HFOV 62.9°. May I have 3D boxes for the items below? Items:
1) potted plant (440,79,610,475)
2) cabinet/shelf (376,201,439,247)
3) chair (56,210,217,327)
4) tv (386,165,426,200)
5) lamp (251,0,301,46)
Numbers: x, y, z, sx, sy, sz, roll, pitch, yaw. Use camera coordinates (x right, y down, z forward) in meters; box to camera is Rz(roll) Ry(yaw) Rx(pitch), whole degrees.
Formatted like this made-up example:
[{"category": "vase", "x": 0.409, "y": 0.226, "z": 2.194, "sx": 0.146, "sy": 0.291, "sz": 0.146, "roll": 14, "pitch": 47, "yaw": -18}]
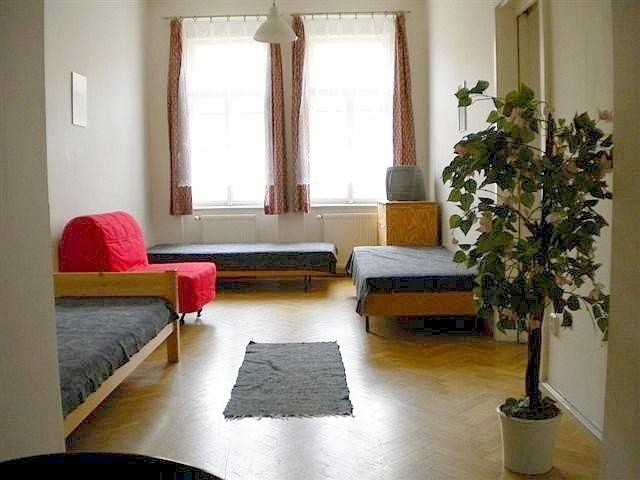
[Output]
[{"category": "potted plant", "x": 1.124, "y": 0.117, "z": 2.791, "sx": 0.734, "sy": 1.836, "sz": 1.617, "roll": 2, "pitch": 8, "yaw": 29}, {"category": "cabinet/shelf", "x": 1.046, "y": -0.297, "z": 6.186, "sx": 0.620, "sy": 0.600, "sz": 0.516, "roll": -5, "pitch": 31, "yaw": -5}, {"category": "chair", "x": -1.577, "y": 0.162, "z": 4.726, "sx": 1.033, "sy": 0.772, "sz": 1.063, "roll": 0, "pitch": 4, "yaw": 4}, {"category": "tv", "x": 0.994, "y": -0.668, "z": 6.295, "sx": 0.369, "sy": 0.362, "sz": 0.406, "roll": -1, "pitch": 2, "yaw": -2}, {"category": "lamp", "x": -0.427, "y": -2.158, "z": 5.351, "sx": 0.454, "sy": 0.527, "sz": 0.504, "roll": 1, "pitch": 19, "yaw": 0}]
